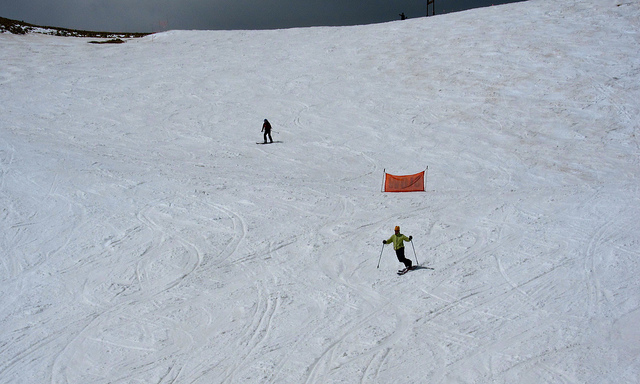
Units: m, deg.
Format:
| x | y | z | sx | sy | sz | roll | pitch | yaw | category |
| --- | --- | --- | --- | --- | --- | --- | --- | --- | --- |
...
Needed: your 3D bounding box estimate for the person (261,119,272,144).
| x | y | z | sx | sy | sz | roll | pitch | yaw | category |
| --- | --- | --- | --- | --- | --- | --- | --- | --- | --- |
| -3.390 | -3.804 | 36.172 | 0.480 | 1.512 | 1.065 | -7 | 47 | 2 | person |
